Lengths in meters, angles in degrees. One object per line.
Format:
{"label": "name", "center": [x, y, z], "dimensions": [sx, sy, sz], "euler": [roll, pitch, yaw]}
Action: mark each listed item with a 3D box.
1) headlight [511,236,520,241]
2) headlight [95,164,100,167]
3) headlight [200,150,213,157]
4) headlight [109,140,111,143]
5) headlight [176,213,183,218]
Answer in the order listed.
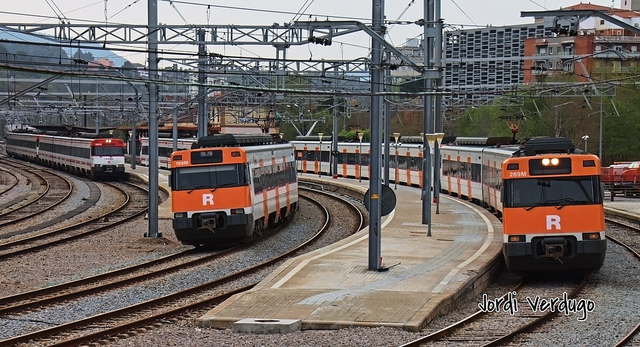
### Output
{"label": "headlight", "center": [7.870, 2.640, 32.226], "dimensions": [0.322, 0.177, 0.041], "euler": [-2, 7, 12]}
{"label": "headlight", "center": [-20.140, -0.702, 72.103], "dimensions": [0.403, 0.245, 0.088], "euler": [-5, 7, -13]}
{"label": "headlight", "center": [-5.514, -0.944, 38.636], "dimensions": [0.614, 0.294, 0.128], "euler": [-5, 7, -17]}
{"label": "headlight", "center": [-19.101, -2.933, 72.478], "dimensions": [0.249, 0.241, 0.057], "euler": [2, -4, 2]}
{"label": "headlight", "center": [-6.774, 2.024, 38.393], "dimensions": [0.307, 0.210, 0.053], "euler": [-3, 7, 6]}
